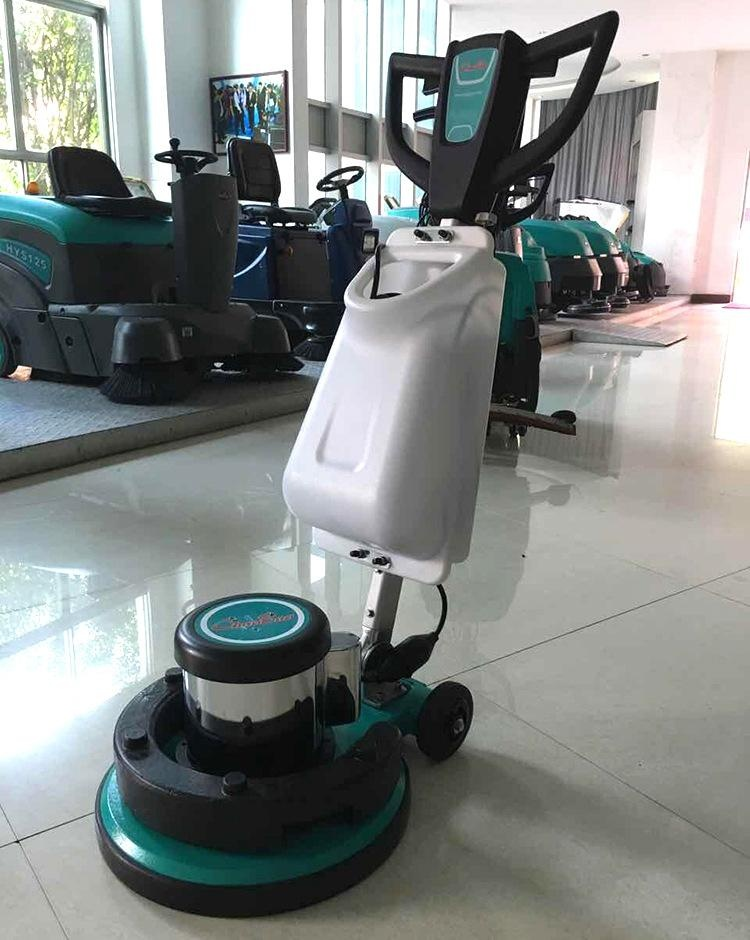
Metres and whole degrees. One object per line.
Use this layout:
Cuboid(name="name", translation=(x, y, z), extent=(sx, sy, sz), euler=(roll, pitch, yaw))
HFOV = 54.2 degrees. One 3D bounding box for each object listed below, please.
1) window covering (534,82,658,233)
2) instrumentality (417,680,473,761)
Cuboid(name="window covering", translation=(4.811, -7.454, 16.910), extent=(2.203, 2.259, 0.126), euler=(7, 21, 25))
Cuboid(name="instrumentality", translation=(0.089, 0.328, 0.944), extent=(0.041, 0.090, 0.097), euler=(10, 14, 35))
